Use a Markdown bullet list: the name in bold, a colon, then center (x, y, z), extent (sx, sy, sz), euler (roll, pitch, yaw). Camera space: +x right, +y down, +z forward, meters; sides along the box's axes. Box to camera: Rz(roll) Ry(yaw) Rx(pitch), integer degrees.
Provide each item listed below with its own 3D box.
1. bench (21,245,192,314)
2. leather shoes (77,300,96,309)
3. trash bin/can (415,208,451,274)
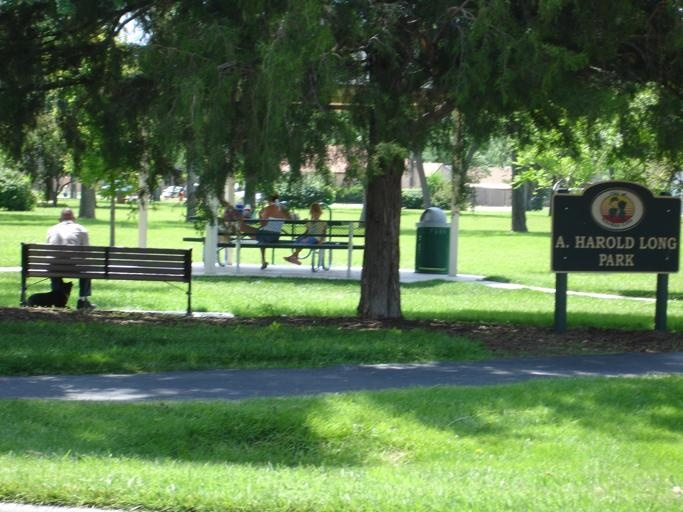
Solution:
- **bench**: center (-3.659, 0.426, 21.900), extent (0.982, 1.050, 2.909), euler (-7, -7, 44)
- **leather shoes**: center (-3.837, 0.730, 22.319), extent (0.200, 0.114, 0.180), euler (2, 2, 11)
- **trash bin/can**: center (1.838, -0.295, 29.612), extent (0.660, 1.329, 0.894), euler (2, 14, 1)
